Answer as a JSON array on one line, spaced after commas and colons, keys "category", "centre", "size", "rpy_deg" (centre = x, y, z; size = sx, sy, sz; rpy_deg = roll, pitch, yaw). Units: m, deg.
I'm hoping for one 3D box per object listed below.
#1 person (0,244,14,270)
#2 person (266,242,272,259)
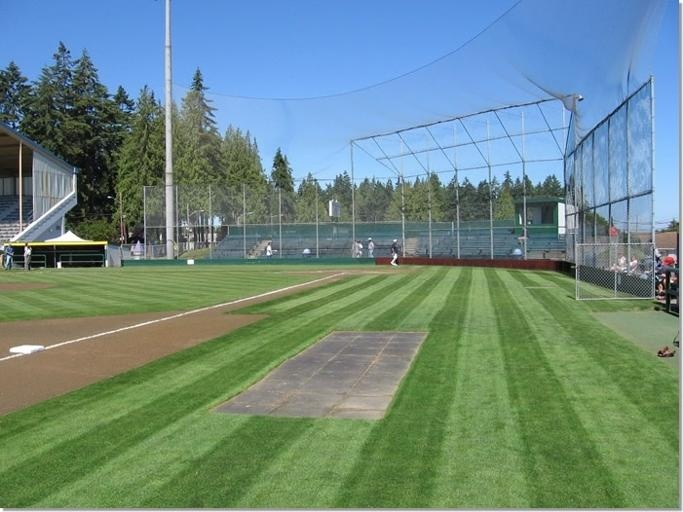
[{"category": "person", "centre": [-20.544, 0.103, 36.546], "size": [0.697, 1.486, 4.150], "rpy_deg": [-5, 8, -29]}, {"category": "person", "centre": [-5.290, -0.474, 43.155], "size": [0.539, 0.905, 1.030], "rpy_deg": [-2, 7, -2]}]
